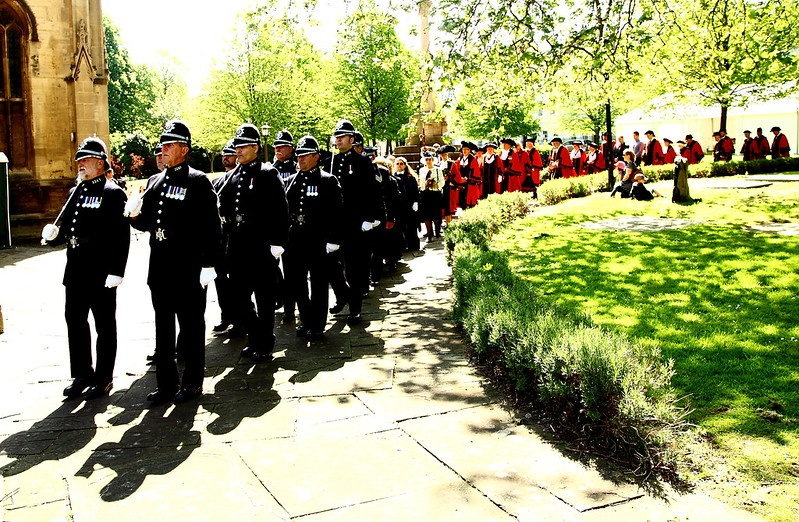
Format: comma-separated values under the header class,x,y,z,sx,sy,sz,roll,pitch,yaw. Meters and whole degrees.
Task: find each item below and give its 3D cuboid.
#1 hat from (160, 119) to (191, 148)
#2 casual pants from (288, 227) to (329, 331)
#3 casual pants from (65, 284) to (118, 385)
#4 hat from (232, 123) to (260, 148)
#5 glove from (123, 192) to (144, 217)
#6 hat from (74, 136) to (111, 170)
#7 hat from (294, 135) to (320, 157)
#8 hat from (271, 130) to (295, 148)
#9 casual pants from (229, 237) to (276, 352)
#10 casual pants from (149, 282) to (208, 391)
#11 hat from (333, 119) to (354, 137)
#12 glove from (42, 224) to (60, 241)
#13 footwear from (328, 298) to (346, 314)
class,x,y,z,sx,sy,sz,roll,pitch,yaw
hat,-2.652,-1.499,7.324,0.282,0.216,0.369,4,7,10
casual pants,-1.337,0.308,9.076,0.594,1.460,0.396,-4,10,-7
casual pants,-3.648,0.873,7.486,0.580,1.192,0.404,-6,10,-22
hat,-2.003,-1.655,8.267,0.305,0.263,0.375,8,9,15
glove,-3.089,-0.661,7.326,0.216,0.250,0.276,2,-19,-8
hat,-3.828,-1.356,7.805,0.377,0.355,0.460,4,-13,17
hat,-1.339,-1.691,9.191,0.295,0.224,0.369,5,26,14
hat,-1.764,-1.830,9.460,0.284,0.230,0.343,3,7,10
casual pants,-1.928,0.500,8.309,0.617,1.480,0.379,-3,10,-4
casual pants,-2.568,0.889,7.358,0.641,1.242,0.469,-6,10,-19
hat,-0.894,-2.083,9.993,0.266,0.198,0.337,4,13,16
glove,-4.341,-0.347,7.778,0.086,0.234,0.190,42,31,23
footwear,-0.989,0.756,10.075,0.070,0.250,0.267,37,-12,-32
